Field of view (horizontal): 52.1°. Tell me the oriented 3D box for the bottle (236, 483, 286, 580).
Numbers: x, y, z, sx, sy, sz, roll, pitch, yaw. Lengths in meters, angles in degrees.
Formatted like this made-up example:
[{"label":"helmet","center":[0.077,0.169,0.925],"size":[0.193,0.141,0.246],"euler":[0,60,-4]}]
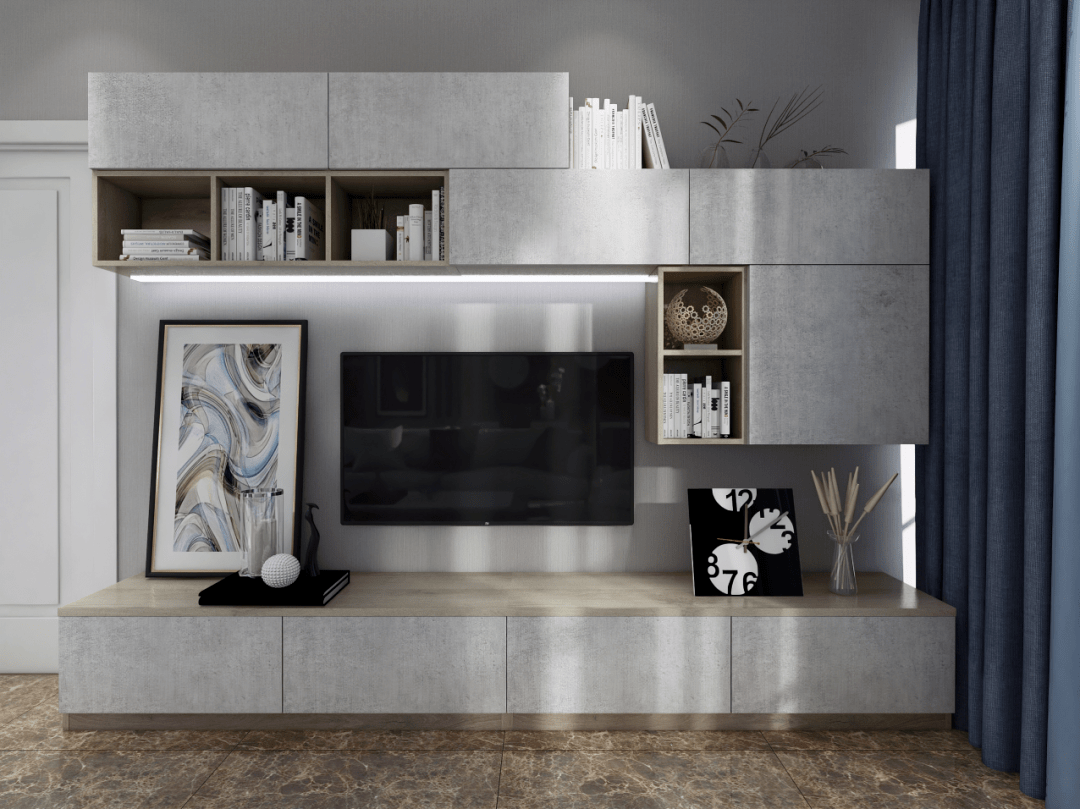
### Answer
[{"label":"bottle","center":[-1.222,0.551,4.857],"size":[0.211,0.368,0.349],"euler":[-4,5,-13]}]
